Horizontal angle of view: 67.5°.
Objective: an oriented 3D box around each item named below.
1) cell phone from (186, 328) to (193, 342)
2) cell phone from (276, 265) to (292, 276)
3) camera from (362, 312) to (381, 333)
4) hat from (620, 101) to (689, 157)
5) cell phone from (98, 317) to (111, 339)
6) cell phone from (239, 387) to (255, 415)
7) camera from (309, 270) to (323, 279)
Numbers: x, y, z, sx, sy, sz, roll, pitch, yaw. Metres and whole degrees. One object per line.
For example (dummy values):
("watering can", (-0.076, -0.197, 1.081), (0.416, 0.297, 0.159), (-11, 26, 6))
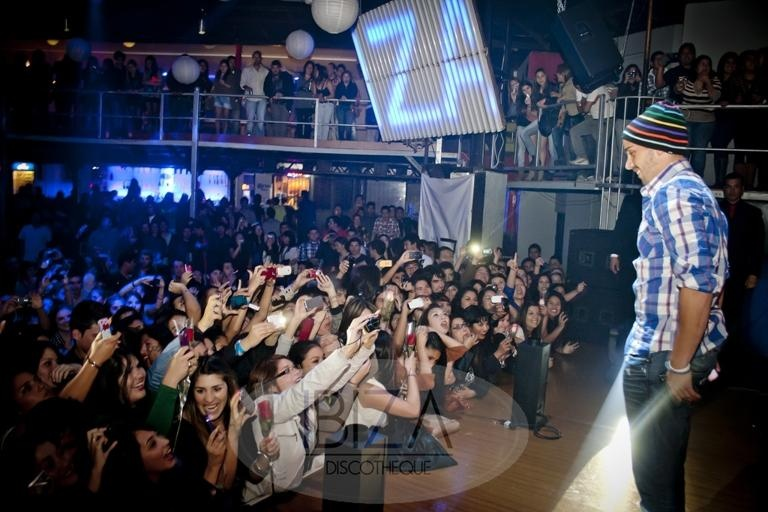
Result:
("cell phone", (-1.973, 0.798, 5.832), (0.023, 0.103, 0.102), (-2, -5, 31))
("cell phone", (-1.297, 0.195, 7.477), (0.164, 0.121, 0.168), (-3, -2, -7))
("camera", (-0.106, 0.668, 5.756), (0.138, 0.174, 0.267), (5, 7, 36))
("hat", (2.419, -1.149, 5.168), (0.543, 0.440, 0.403), (2, 23, 11))
("cell phone", (-2.815, 0.724, 5.804), (0.103, 0.186, 0.165), (-2, 6, -26))
("cell phone", (-1.385, 1.461, 5.817), (0.141, 0.276, 0.065), (-26, -7, -29))
("camera", (-0.915, 0.242, 7.638), (0.144, 0.100, 0.132), (1, 0, -37))
